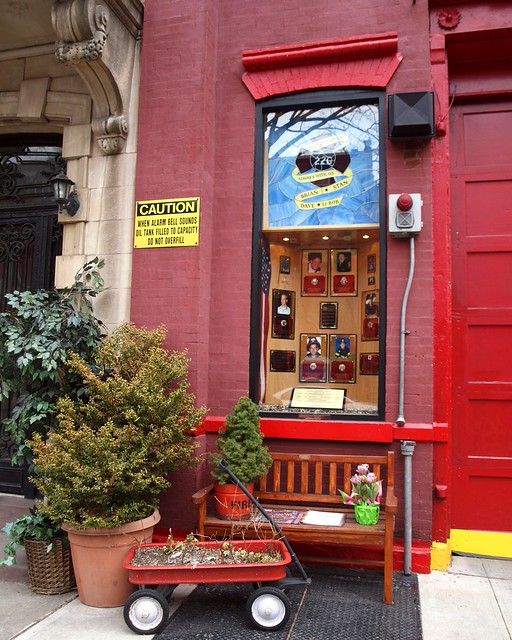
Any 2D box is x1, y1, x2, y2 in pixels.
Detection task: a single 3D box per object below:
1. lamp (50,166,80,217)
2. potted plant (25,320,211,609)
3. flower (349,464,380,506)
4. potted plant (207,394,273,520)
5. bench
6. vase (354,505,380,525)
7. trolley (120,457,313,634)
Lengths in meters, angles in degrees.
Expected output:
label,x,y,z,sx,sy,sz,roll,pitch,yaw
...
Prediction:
label,x,y,z,sx,sy,sz,roll,pitch,yaw
lamp,-1.617,-1.073,5.180,0.217,0.356,0.315,0,-1,0
potted plant,-1.078,0.961,4.414,1.295,1.931,1.306,-4,-11,35
flower,0.784,1.130,4.297,0.203,0.258,0.381,0,-1,22
potted plant,-0.021,0.968,4.375,0.535,0.868,0.508,-2,-17,6
bench,0.282,1.393,4.277,1.339,0.810,0.517,-2,1,12
vase,0.739,1.297,4.088,0.143,0.124,0.135,-1,-19,5
trolley,-0.249,1.554,4.002,1.306,1.027,0.746,2,-12,-1
